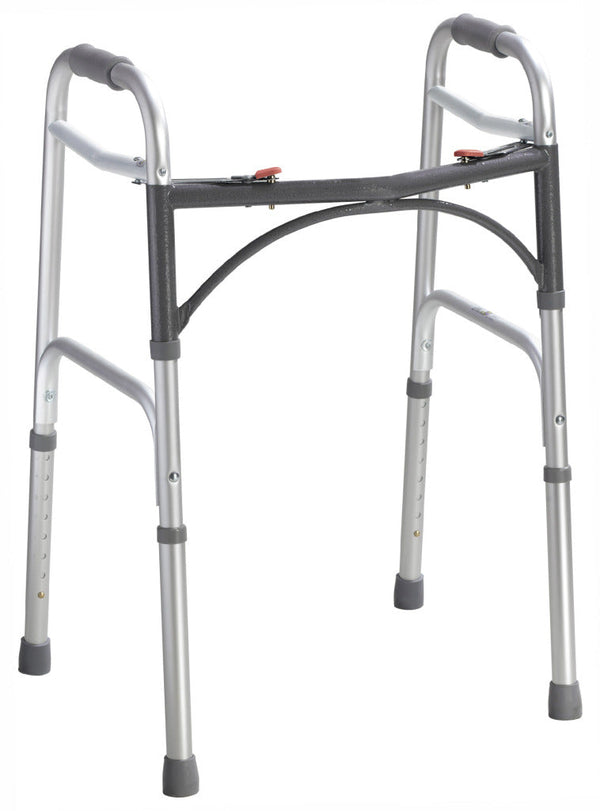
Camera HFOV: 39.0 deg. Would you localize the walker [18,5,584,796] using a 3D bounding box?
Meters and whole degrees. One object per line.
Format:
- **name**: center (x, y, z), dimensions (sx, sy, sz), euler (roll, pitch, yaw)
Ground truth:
- **walker**: center (0.031, -0.023, 1.091), dimensions (0.522, 0.415, 0.817), euler (-8, -71, -19)
